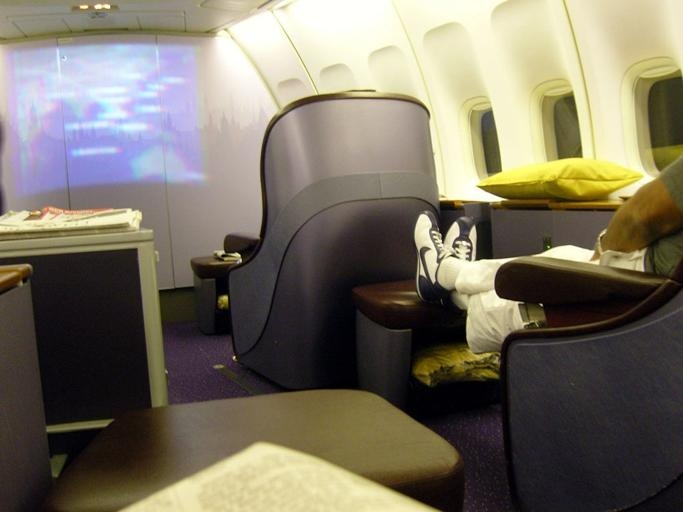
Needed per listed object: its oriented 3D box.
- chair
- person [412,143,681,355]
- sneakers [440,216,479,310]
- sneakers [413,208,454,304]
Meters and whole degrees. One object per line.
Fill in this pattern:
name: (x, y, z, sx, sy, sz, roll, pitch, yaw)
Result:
chair: (0.366, -0.110, 2.448, 0.882, 1.551, 1.486, -3, 5, -14)
person: (0.737, 0.035, 2.148, 0.412, 0.744, 1.366, -2, 3, -28)
sneakers: (0.516, -0.022, 2.305, 0.155, 0.217, 0.534, 3, 46, 8)
sneakers: (0.417, -0.011, 2.285, 0.115, 0.404, 0.155, 9, -22, -22)
